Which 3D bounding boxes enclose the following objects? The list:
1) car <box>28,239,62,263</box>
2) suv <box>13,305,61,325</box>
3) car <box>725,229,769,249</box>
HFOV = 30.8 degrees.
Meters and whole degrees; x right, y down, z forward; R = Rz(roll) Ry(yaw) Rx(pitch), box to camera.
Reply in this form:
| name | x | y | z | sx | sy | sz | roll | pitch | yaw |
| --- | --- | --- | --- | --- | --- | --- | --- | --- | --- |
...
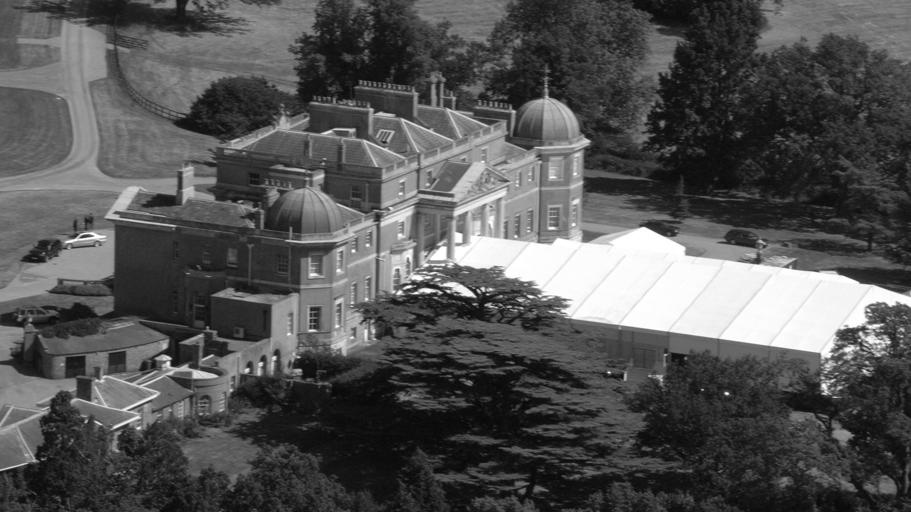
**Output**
| name | x | y | z | sx | sy | sz | roll | pitch | yaw |
| --- | --- | --- | --- | --- | --- | --- | --- | --- | --- |
| car | -46.688 | -0.805 | 187.526 | 1.978 | 2.522 | 3.040 | 19 | 19 | 30 |
| suv | -43.792 | 6.055 | 172.010 | 4.276 | 1.228 | 1.796 | -3 | 18 | -5 |
| car | 34.203 | -2.088 | 200.613 | 4.230 | 0.969 | 2.826 | 7 | 10 | 29 |
